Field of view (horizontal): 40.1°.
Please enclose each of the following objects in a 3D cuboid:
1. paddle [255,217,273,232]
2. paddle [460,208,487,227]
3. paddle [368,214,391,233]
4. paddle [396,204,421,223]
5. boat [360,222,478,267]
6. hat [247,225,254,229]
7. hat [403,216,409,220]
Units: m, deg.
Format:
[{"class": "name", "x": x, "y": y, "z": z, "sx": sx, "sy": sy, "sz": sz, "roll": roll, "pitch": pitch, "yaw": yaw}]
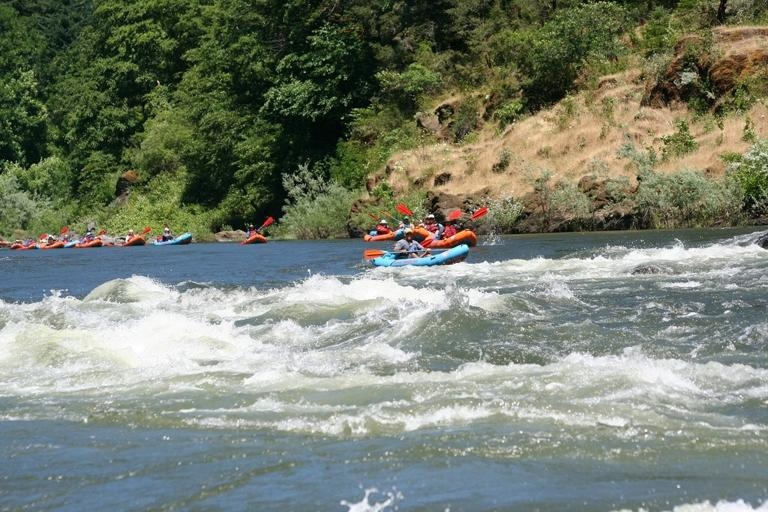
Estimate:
[{"class": "paddle", "x": -6.051, "y": -1.513, "z": 53.226, "sx": 0.436, "sy": 0.144, "sz": 1.458, "roll": 29, "pitch": -53, "yaw": -34}, {"class": "paddle", "x": 3.527, "y": -1.429, "z": 41.009, "sx": 0.180, "sy": 0.203, "sz": 1.251, "roll": 24, "pitch": -44, "yaw": -35}, {"class": "paddle", "x": -0.060, "y": -1.159, "z": 43.728, "sx": 0.680, "sy": 0.474, "sz": 1.073, "roll": 2, "pitch": -9, "yaw": -7}, {"class": "paddle", "x": 1.036, "y": -1.703, "z": 43.404, "sx": 0.925, "sy": 0.359, "sz": 0.349, "roll": 33, "pitch": -17, "yaw": -19}, {"class": "boat", "x": 1.094, "y": 0.015, "z": 34.261, "sx": 1.703, "sy": 0.711, "sz": 3.122, "roll": -27, "pitch": 16, "yaw": -36}, {"class": "hat", "x": -6.622, "y": -1.381, "z": 51.945, "sx": 0.568, "sy": 0.174, "sz": 0.549, "roll": 0, "pitch": 0, "yaw": -1}, {"class": "hat", "x": 0.883, "y": -1.439, "z": 41.284, "sx": 0.183, "sy": 0.121, "sz": 0.213, "roll": 2, "pitch": 2, "yaw": -1}]
